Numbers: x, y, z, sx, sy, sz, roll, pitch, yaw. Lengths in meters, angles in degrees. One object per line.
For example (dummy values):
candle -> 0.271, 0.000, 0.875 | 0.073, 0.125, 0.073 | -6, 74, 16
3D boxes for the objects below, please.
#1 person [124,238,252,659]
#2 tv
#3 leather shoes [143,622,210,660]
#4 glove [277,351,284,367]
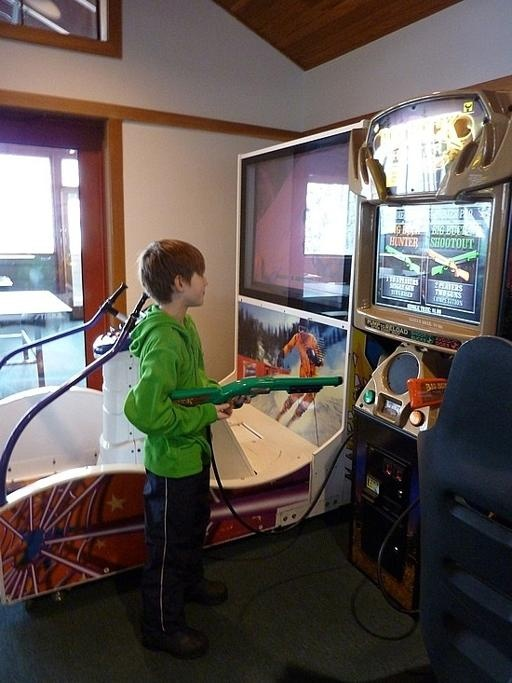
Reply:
person -> -0.215, 0.311, 1.524 | 0.348, 1.219, 0.418 | -2, 9, -15
tv -> 0.509, -0.233, 1.500 | 0.005, 0.343, 0.419 | -10, 18, -31
leather shoes -> -0.236, 0.889, 1.468 | 0.173, 0.079, 0.085 | -1, 4, 3
glove -> 0.121, 0.085, 2.405 | 0.025, 0.084, 0.059 | -3, -7, 32
